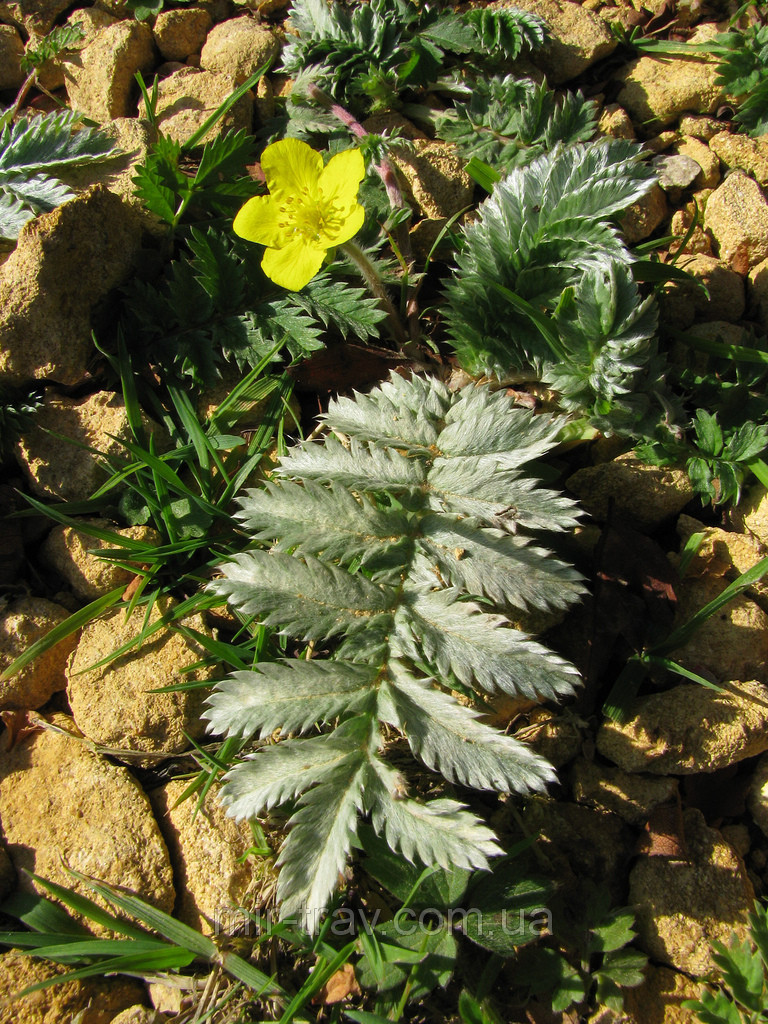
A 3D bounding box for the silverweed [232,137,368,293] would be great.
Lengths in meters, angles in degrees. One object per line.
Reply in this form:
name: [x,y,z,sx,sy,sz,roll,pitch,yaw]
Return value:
silverweed: [-0.176,-0.693,2.108,0.300,0.234,0.319,19,58,23]
